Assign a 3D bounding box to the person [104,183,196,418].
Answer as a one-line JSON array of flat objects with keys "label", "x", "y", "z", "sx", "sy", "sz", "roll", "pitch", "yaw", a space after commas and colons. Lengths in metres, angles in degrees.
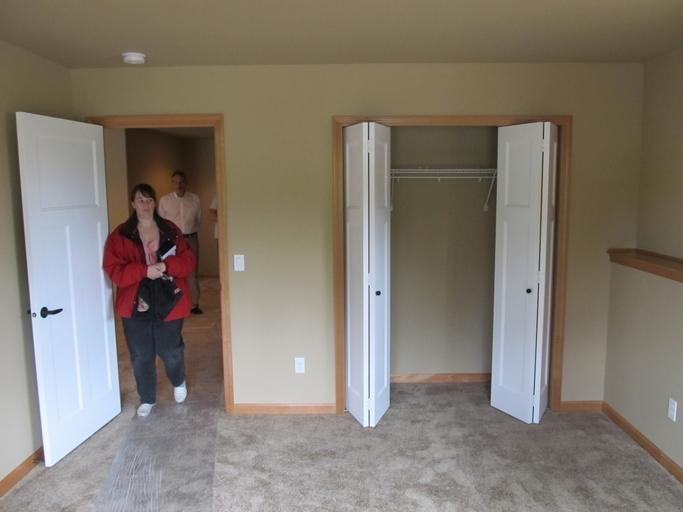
[{"label": "person", "x": -1.599, "y": 0.371, "z": 4.422, "sx": 0.705, "sy": 1.931, "sz": 0.369, "roll": -5, "pitch": 11, "yaw": -18}]
